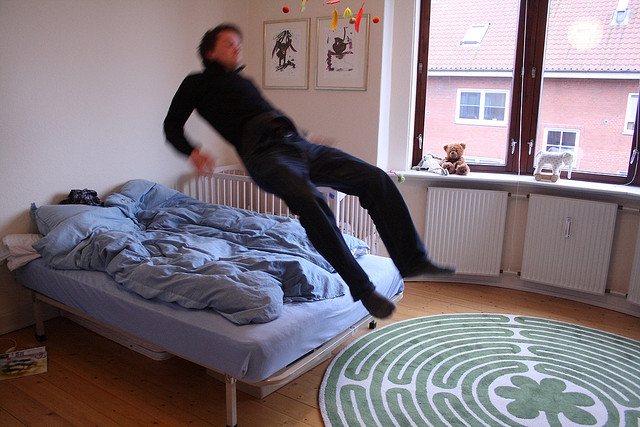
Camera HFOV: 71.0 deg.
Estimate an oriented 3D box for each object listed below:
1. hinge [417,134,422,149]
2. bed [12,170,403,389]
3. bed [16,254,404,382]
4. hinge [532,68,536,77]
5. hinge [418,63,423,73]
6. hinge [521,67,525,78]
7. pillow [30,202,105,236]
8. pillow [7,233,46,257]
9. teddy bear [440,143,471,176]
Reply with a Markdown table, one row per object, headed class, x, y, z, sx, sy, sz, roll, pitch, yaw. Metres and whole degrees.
| class | x | y | z | sx | sy | sz | roll | pitch | yaw |
| --- | --- | --- | --- | --- | --- | --- | --- | --- | --- |
| hinge | 1.168 | -0.848 | 5.265 | 0.056 | 0.159 | 0.020 | 0 | 15 | -1 |
| bed | -0.848 | 0.435 | 3.358 | 2.377 | 0.546 | 2.026 | 12 | 17 | 35 |
| bed | -0.675 | 0.829 | 4.044 | 2.726 | 0.758 | 2.200 | 8 | 11 | 34 |
| hinge | 2.292 | -1.520 | 4.826 | 0.031 | 0.091 | 0.010 | 1 | 15 | 3 |
| hinge | 1.142 | -1.667 | 5.121 | 0.045 | 0.103 | 0.016 | 1 | 15 | 4 |
| hinge | 2.191 | -1.548 | 4.860 | 0.033 | 0.082 | 0.023 | 5 | 17 | 0 |
| pillow | -2.296 | -0.027 | 4.062 | 0.630 | 0.172 | 0.691 | 30 | 19 | 32 |
| pillow | -2.482 | 0.273 | 3.803 | 0.231 | 0.066 | 0.198 | 1 | 26 | -10 |
| teddy bear | 1.521 | -0.623 | 5.081 | 0.295 | 0.328 | 0.278 | 3 | 18 | 27 |
